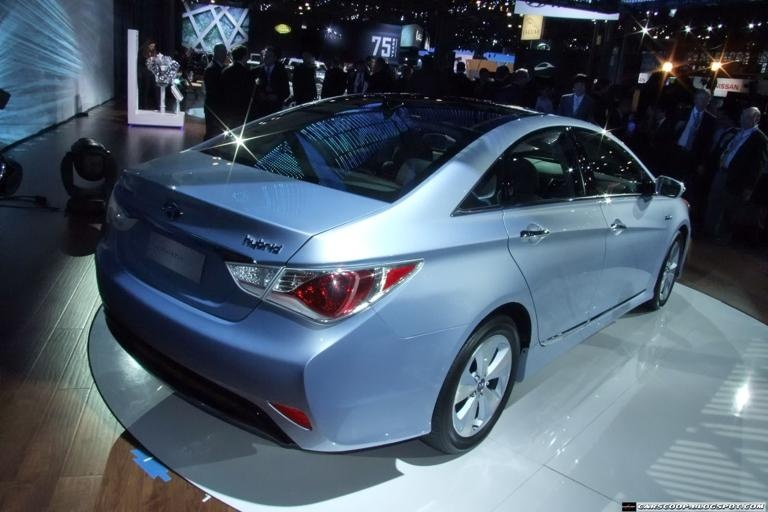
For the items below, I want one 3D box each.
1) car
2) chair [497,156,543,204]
[{"bbox_3d":[0.498,-0.132,2.755,1.779,1.158,3.436,22,31,39],"label":"car"},{"bbox_3d":[0.748,-0.406,2.457,0.239,0.285,0.295,0,10,-4],"label":"chair"}]
